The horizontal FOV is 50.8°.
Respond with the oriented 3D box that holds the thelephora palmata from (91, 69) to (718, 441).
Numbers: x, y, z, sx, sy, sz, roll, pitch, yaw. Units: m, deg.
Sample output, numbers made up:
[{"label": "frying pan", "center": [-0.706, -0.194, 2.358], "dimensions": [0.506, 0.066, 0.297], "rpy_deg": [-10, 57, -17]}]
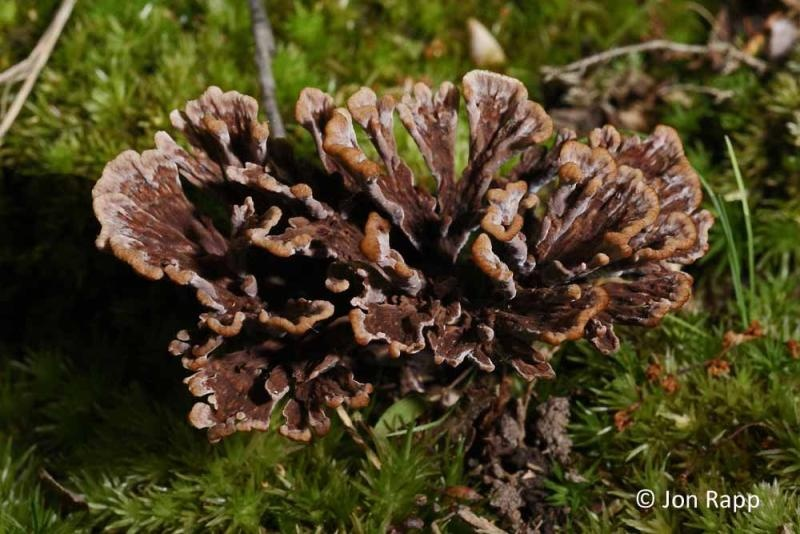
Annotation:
[{"label": "thelephora palmata", "center": [0.027, -0.055, 4.418], "dimensions": [3.118, 1.102, 1.408], "rpy_deg": [-4, 83, -6]}]
